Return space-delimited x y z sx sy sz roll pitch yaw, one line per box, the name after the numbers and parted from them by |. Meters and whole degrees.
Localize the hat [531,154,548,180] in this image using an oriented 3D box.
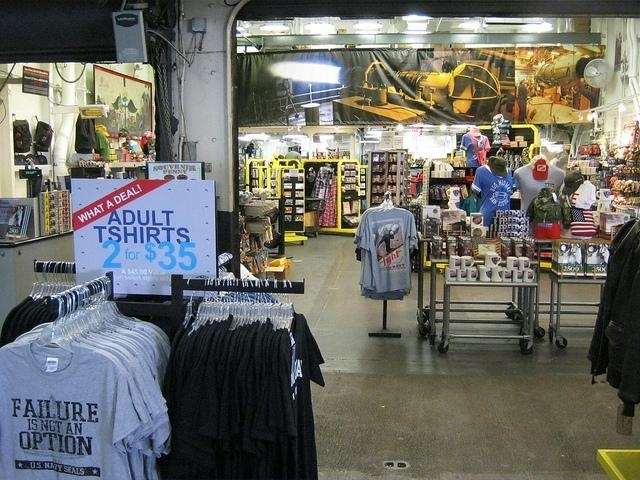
2.807 -0.917 7.663 0.204 0.321 0.144 4 4 22 | hat

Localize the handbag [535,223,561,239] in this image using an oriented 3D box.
2.494 -0.107 6.623 0.281 0.178 0.173 4 5 20 | handbag

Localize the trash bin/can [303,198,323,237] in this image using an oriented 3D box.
-0.209 -0.567 15.503 0.746 0.887 0.733 0 0 -1 | trash bin/can

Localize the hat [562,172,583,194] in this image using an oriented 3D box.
2.826 -0.640 6.722 0.216 0.265 0.243 4 5 23 | hat

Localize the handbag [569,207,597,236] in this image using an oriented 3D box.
2.855 -0.188 6.493 0.296 0.306 0.220 3 4 14 | handbag

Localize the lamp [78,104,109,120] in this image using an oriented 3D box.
-3.554 -2.023 9.371 0.399 0.225 0.739 0 6 -26 | lamp

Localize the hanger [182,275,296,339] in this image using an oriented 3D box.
-0.415 0.344 3.216 0.703 0.310 0.236 2 5 6 | hanger

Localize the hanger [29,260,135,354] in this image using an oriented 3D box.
-1.244 0.371 3.083 0.147 0.214 0.517 5 11 11 | hanger

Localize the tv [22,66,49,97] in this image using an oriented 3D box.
-3.923 -2.180 8.223 0.259 0.376 0.667 2 5 -2 | tv

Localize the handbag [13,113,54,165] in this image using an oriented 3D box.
-4.569 -1.550 9.485 0.463 0.719 1.126 1 5 -18 | handbag
